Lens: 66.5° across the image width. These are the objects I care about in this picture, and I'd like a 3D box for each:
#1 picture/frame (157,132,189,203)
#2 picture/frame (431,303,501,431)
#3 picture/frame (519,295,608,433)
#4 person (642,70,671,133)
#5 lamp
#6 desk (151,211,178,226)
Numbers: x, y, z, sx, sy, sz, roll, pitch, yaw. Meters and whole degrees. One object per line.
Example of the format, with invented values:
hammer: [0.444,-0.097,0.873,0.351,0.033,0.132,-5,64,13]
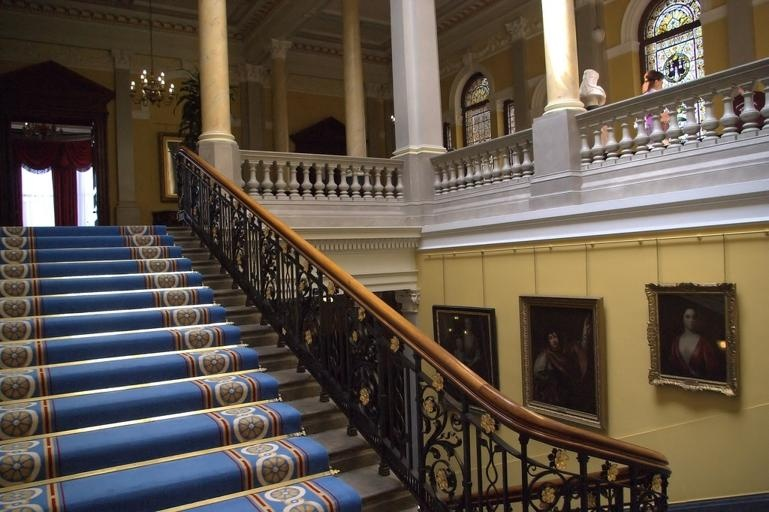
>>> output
picture/frame: [-5.316,-2.205,14.460,0.447,1.708,0.399,0,1,-37]
picture/frame: [1.319,1.402,9.507,0.207,1.234,1.286,0,1,-39]
picture/frame: [2.441,1.402,7.787,0.143,1.958,1.510,5,-11,-34]
person: [3.805,-2.210,8.210,0.338,1.032,1.960,1,1,25]
lamp: [-5.325,-4.664,13.425,0.951,2.696,2.430,0,1,-21]
desk: [-4.859,-0.841,12.977,0.525,0.553,0.538,-2,4,-19]
